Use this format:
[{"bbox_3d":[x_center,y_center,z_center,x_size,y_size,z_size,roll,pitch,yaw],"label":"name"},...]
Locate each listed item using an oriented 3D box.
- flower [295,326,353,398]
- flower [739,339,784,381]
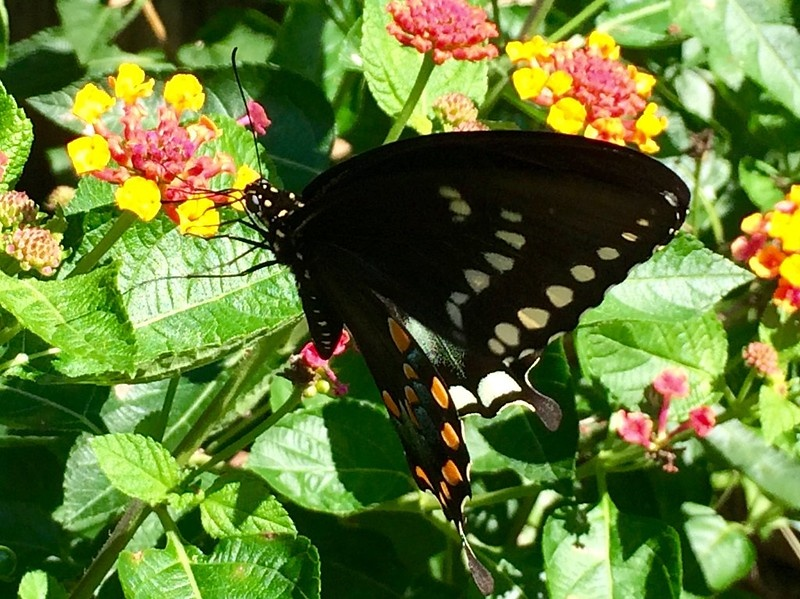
[{"bbox_3d":[-0.213,0.175,2.429,0.168,0.165,0.088,0,14,29],"label":"flower"},{"bbox_3d":[1.060,0.178,2.511,0.117,0.039,0.093,40,76,13],"label":"flower"}]
